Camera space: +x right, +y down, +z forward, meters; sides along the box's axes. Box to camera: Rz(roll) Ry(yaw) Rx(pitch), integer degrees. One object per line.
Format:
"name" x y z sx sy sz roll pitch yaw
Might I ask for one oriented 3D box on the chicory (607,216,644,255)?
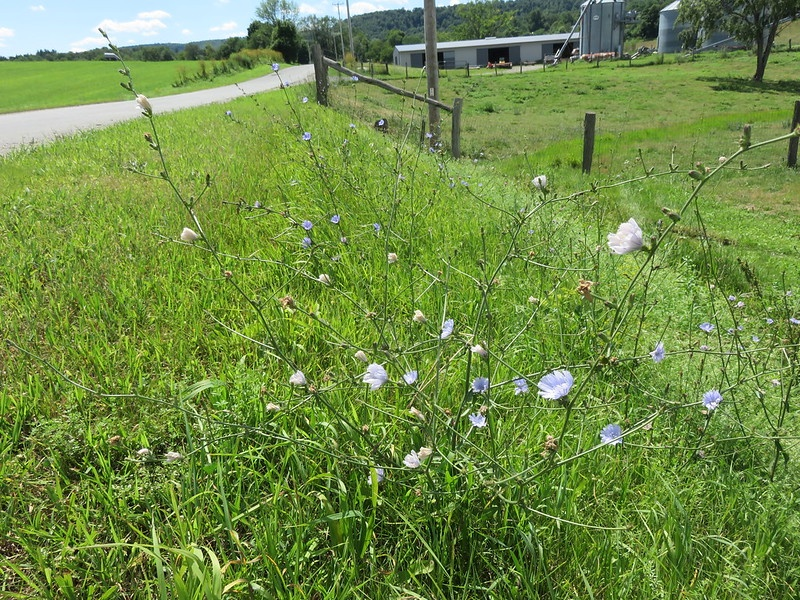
"chicory" 0.988 -0.272 2.791 0.096 0.164 0.160 14 14 36

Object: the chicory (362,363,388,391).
"chicory" -0.109 0.350 2.807 0.101 0.122 0.056 30 27 15
